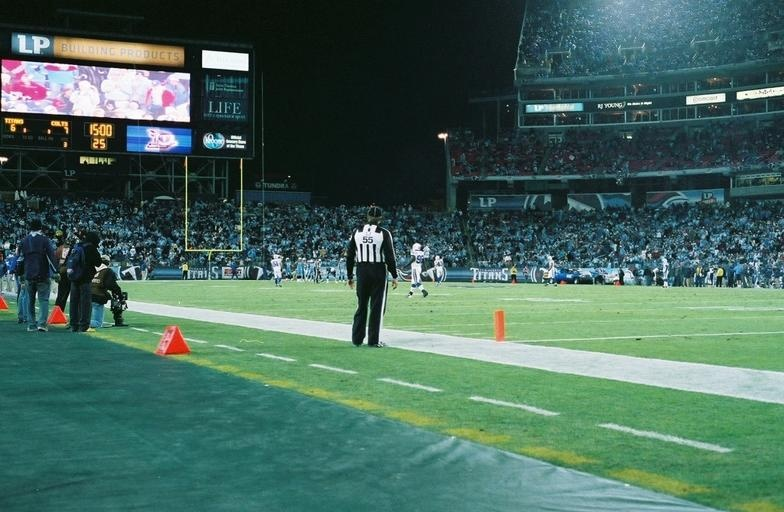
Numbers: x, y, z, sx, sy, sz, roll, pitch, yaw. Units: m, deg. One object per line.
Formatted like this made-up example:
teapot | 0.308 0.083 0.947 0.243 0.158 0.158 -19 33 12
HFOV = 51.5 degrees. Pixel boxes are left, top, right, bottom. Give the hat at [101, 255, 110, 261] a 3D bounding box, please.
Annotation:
hat | -6.401 0.062 18.182 0.304 0.099 0.294 3 -2 -11

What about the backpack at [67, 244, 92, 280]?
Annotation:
backpack | -6.525 0.141 16.802 0.443 0.779 0.242 0 1 25

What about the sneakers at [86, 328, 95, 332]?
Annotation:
sneakers | -6.391 1.588 17.302 0.225 0.086 0.082 -4 -2 36
